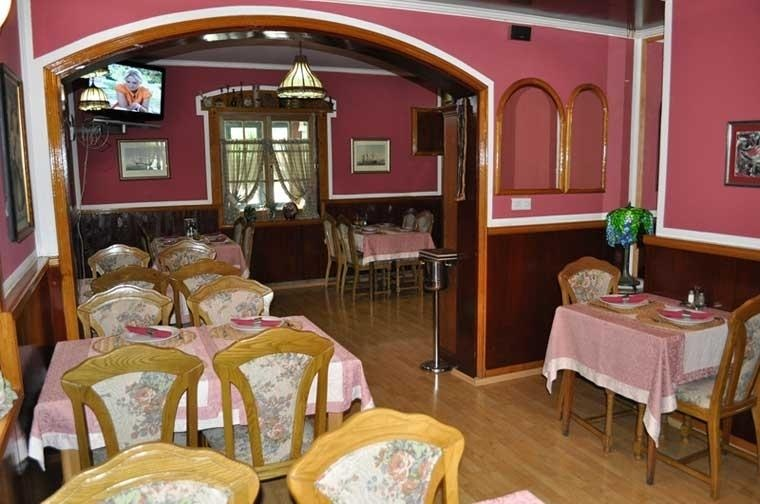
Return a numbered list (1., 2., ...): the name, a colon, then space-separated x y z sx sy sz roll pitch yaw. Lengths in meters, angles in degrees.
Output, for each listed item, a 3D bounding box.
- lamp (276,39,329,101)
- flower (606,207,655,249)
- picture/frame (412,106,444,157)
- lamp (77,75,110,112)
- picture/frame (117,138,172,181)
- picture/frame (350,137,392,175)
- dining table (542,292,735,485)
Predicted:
1. lamp: -0.894 -2.052 6.323 0.431 0.584 0.440 12 18 42
2. flower: 2.255 -0.225 5.133 0.353 0.388 0.265 -7 15 -27
3. picture/frame: 0.591 -1.519 7.142 0.478 0.530 0.293 7 15 26
4. lamp: -3.672 -2.040 7.208 0.314 0.427 0.463 -8 16 -32
5. picture/frame: -3.682 -1.455 8.736 0.652 0.587 0.066 -3 3 -30
6. picture/frame: -0.197 -1.728 9.966 0.653 0.585 0.065 -2 6 -29
7. dining table: 2.066 0.797 4.647 1.290 1.034 1.280 -8 18 -34
